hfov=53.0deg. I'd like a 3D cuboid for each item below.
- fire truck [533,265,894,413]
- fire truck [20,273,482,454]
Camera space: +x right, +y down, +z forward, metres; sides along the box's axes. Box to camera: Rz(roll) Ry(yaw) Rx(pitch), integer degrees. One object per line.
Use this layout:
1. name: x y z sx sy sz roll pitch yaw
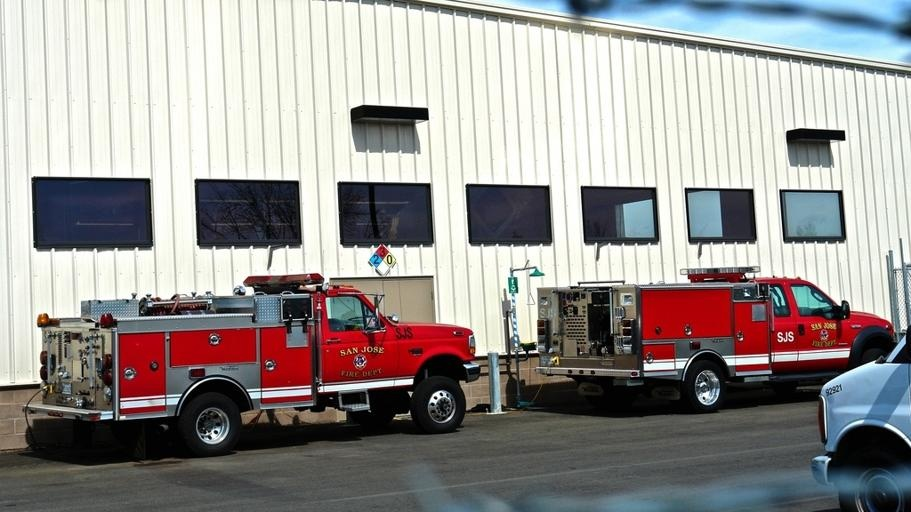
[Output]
1. fire truck: 8.101 2.688 26.455 9.571 3.415 4.238 -4 2 -31
2. fire truck: -4.583 2.844 22.618 10.234 4.016 4.517 -2 0 -36
